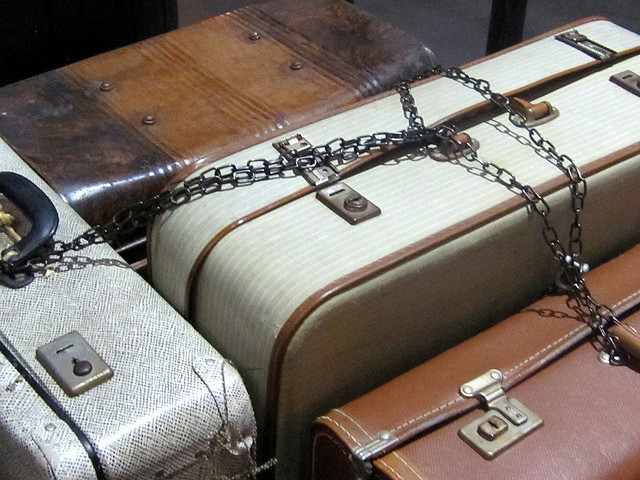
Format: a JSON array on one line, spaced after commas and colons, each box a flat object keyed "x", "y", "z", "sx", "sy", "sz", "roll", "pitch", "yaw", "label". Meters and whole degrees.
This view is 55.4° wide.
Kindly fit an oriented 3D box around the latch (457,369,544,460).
[{"x": 0.242, "y": 0.244, "z": 0.861, "sx": 0.118, "sy": 0.022, "sz": 0.102, "roll": -27, "pitch": 56, "yaw": -15, "label": "latch"}]

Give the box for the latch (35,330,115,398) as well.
[{"x": -0.332, "y": 0.151, "z": 0.813, "sx": 0.064, "sy": 0.025, "sz": 0.089, "roll": -26, "pitch": 54, "yaw": -29, "label": "latch"}]
